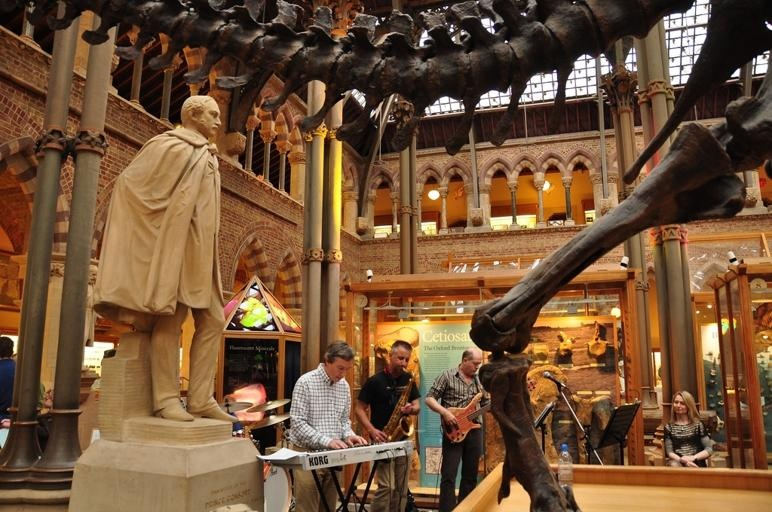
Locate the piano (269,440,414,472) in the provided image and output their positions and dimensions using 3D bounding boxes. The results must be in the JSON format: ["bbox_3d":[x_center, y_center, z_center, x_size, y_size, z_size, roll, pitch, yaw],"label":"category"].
[{"bbox_3d":[-0.353,1.627,5.362,1.258,0.190,0.292,10,-16,-37],"label":"piano"}]

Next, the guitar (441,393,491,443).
[{"bbox_3d":[0.903,1.824,7.417,0.534,0.540,0.308,1,-13,-3],"label":"guitar"}]

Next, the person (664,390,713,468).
[{"bbox_3d":[3.470,2.007,7.669,0.515,0.856,0.770,-5,-14,23],"label":"person"}]

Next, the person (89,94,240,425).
[{"bbox_3d":[-1.736,-0.036,5.334,1.051,2.666,0.463,6,-14,-24],"label":"person"}]

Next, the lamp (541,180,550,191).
[{"bbox_3d":[6.384,-2.923,26.499,0.126,0.528,0.531,11,-55,-3],"label":"lamp"}]

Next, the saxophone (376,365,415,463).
[{"bbox_3d":[0.231,1.815,7.540,0.321,1.055,0.374,18,-6,-3],"label":"saxophone"}]

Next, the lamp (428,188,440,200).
[{"bbox_3d":[2.048,-2.699,28.750,0.429,0.309,0.437,3,0,30],"label":"lamp"}]
